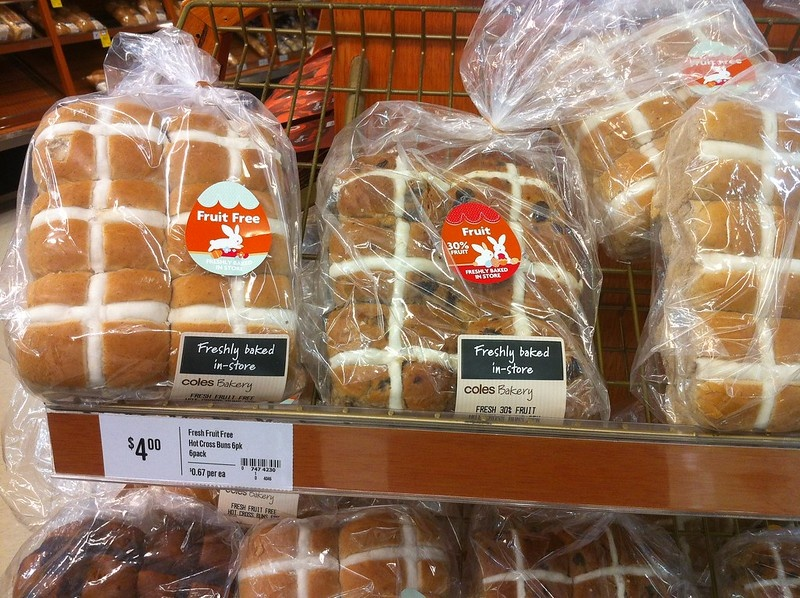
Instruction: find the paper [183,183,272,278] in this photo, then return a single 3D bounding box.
[{"bbox_3d":[-0.250,-0.093,0.908,0.134,0.019,0.148,-5,70,-9],"label":"paper"}]
